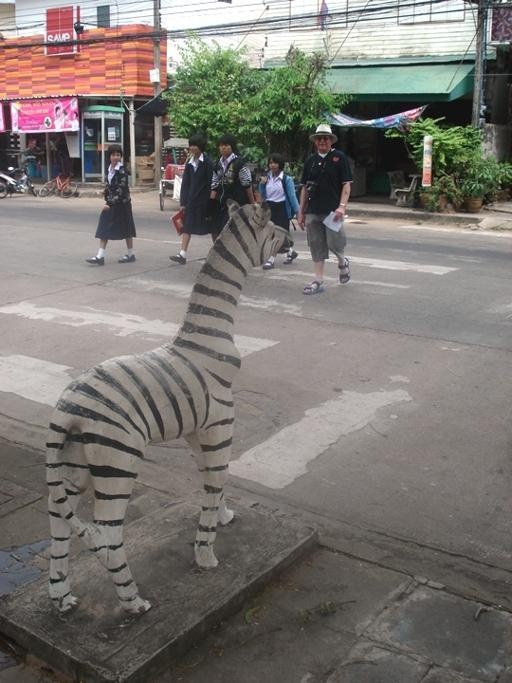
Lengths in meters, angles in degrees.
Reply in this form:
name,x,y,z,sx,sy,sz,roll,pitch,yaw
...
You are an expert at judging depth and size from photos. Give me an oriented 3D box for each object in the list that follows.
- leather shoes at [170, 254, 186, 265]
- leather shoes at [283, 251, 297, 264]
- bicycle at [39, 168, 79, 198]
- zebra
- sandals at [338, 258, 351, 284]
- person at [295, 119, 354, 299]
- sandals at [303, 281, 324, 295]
name,x,y,z,sx,sy,sz,roll,pitch,yaw
leather shoes,-1.161,-1.277,10.261,0.301,0.098,0.129,15,-38,-33
leather shoes,0.536,-1.365,10.581,0.120,0.144,0.340,2,34,13
bicycle,-7.273,-5.690,24.594,1.406,0.949,2.684,-5,10,-19
zebra,-0.351,0.214,2.566,0.354,1.441,1.000,5,12,35
sandals,1.159,-0.987,8.817,0.143,0.435,0.176,-5,-29,19
person,0.836,-1.556,8.216,0.629,1.959,0.729,-1,10,3
sandals,0.692,-0.685,8.453,0.122,0.147,0.363,14,22,35
